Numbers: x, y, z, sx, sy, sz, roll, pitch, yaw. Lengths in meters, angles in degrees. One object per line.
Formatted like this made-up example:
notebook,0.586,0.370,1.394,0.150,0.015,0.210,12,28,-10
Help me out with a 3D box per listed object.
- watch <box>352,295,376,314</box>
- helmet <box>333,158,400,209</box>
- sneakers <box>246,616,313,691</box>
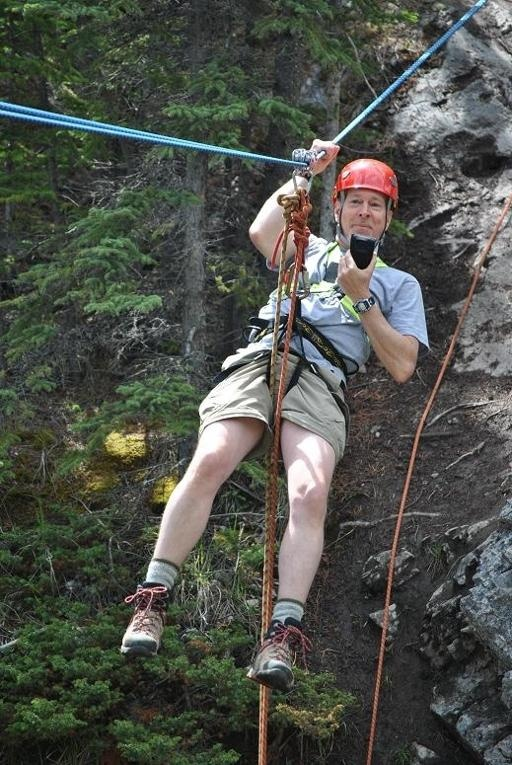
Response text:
watch,0.537,-0.376,4.917,0.115,0.062,0.106,-21,-1,-29
helmet,0.616,-1.101,5.264,0.257,0.215,0.311,9,-6,4
sneakers,0.100,1.230,4.376,0.187,0.303,0.272,7,17,16
